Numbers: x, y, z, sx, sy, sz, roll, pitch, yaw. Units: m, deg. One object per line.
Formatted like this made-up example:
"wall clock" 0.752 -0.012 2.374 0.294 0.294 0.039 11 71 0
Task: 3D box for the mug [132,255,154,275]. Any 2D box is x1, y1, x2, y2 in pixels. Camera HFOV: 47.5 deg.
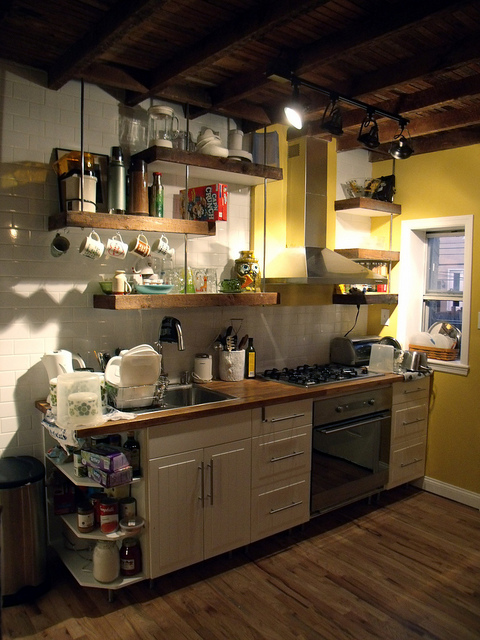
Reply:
"mug" -0.526 -0.298 3.042 0.136 0.123 0.122 -1 0 38

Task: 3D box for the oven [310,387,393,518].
"oven" 0.577 0.792 3.633 0.730 0.753 0.559 -4 7 -31

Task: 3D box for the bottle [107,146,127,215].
"bottle" -0.609 -0.707 2.778 0.074 0.326 0.139 4 5 28

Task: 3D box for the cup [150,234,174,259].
"cup" -0.432 -0.410 3.018 0.104 0.083 0.137 -14 1 -17

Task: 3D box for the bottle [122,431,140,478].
"bottle" -0.514 0.630 2.582 0.068 0.206 0.107 -1 5 -30

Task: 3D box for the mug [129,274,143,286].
"mug" -0.557 -0.216 2.933 0.065 0.060 0.065 2 3 29

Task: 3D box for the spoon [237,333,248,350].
"spoon" 0.014 0.136 3.514 0.074 0.094 0.074 3 5 13

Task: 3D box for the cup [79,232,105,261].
"cup" -0.733 -0.405 2.725 0.109 0.171 0.119 -4 -23 -2

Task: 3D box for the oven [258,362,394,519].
"oven" 0.574 0.767 3.641 0.769 0.806 0.610 -5 6 -40

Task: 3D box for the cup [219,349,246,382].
"cup" -0.047 0.278 3.397 0.189 0.194 0.174 2 2 0

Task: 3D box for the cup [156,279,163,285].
"cup" -0.439 -0.210 2.962 0.031 0.025 0.029 0 8 0

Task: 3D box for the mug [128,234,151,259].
"mug" -0.534 -0.408 2.924 0.111 0.157 0.098 8 -37 -25

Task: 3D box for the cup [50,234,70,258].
"cup" -0.913 -0.378 2.758 0.094 0.118 0.100 1 4 0

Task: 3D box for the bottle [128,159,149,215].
"bottle" -0.529 -0.690 2.824 0.096 0.280 0.075 0 5 -16

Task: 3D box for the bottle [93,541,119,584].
"bottle" -0.630 1.108 2.533 0.132 0.180 0.102 1 4 -1

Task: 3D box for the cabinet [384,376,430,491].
"cabinet" 1.229 0.881 4.015 0.328 0.566 0.315 -16 21 -3

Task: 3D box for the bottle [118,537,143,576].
"bottle" -0.521 1.122 2.601 0.109 0.162 0.063 1 5 -13

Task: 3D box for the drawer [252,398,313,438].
"drawer" 0.246 0.535 3.043 0.263 0.111 0.189 -2 0 -36

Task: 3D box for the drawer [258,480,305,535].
"drawer" 0.228 1.044 3.076 0.343 0.196 0.215 -3 3 -43

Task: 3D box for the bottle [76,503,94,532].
"bottle" -0.721 0.917 2.544 0.074 0.116 0.073 2 4 0

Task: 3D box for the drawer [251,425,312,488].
"drawer" 0.352 0.806 3.145 0.278 0.270 0.455 25 -35 -29

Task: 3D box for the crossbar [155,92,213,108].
"crossbar" -0.331 -1.225 3.039 0.374 0.035 0.110 -3 6 -42

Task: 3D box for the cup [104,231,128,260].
"cup" -0.630 -0.402 2.804 0.129 0.180 0.113 -1 -5 -4

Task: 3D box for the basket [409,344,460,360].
"basket" 1.452 0.235 4.147 0.384 0.091 0.156 6 6 43

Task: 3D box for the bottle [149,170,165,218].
"bottle" -0.458 -0.682 2.971 0.073 0.250 0.170 1 4 -10

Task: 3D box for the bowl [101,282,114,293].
"bowl" -0.694 -0.175 2.838 0.062 0.039 0.061 1 13 0

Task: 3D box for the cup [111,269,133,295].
"cup" -0.607 -0.195 2.850 0.089 0.147 0.152 -6 13 -42
